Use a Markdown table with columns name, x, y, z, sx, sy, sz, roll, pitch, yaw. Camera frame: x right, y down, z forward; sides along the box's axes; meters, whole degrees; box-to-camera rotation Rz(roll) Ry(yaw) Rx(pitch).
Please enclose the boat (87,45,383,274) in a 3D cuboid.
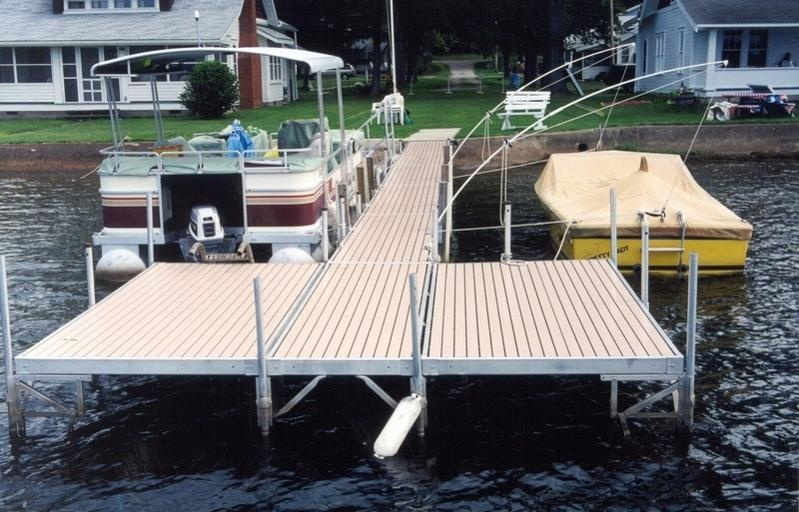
| name | x | y | z | sx | sy | sz | roll | pitch | yaw |
| --- | --- | --- | --- | --- | --- | --- | --- | --- | --- |
| boat | -3.790 | -2.032 | 21.401 | 5.251 | 4.846 | 4.494 | -3 | 11 | -7 |
